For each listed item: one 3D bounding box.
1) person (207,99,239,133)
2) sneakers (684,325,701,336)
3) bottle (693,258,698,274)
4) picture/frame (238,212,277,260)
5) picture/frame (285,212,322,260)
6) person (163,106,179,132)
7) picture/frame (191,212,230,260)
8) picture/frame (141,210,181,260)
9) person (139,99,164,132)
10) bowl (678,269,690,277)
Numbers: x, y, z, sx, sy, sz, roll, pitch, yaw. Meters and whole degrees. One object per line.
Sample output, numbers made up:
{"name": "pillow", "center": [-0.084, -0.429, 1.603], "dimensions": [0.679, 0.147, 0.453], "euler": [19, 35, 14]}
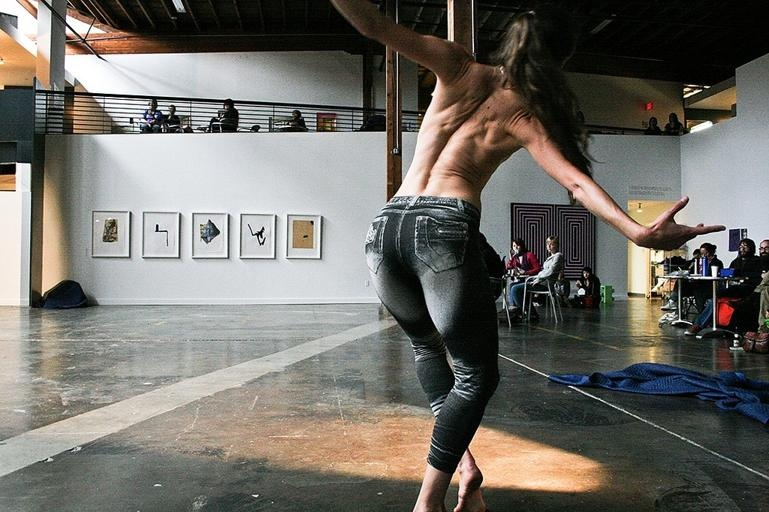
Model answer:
{"name": "person", "center": [-3.668, -3.194, 13.804], "dimensions": [0.852, 0.497, 1.107], "euler": [-2, 27, 7]}
{"name": "sneakers", "center": [4.268, 1.042, 8.412], "dimensions": [0.276, 0.100, 0.089], "euler": [0, -4, -20]}
{"name": "bottle", "center": [5.426, 0.192, 10.618], "dimensions": [0.064, 0.235, 0.247], "euler": [1, -6, 20]}
{"name": "picture/frame", "center": [-2.790, -0.402, 13.186], "dimensions": [1.126, 1.294, 0.088], "euler": [0, -4, -10]}
{"name": "picture/frame", "center": [-1.753, -0.442, 13.243], "dimensions": [0.783, 0.887, 0.094], "euler": [0, 3, -34]}
{"name": "person", "center": [-4.754, -3.105, 13.609], "dimensions": [0.350, 0.772, 0.738], "euler": [1, -1, -20]}
{"name": "picture/frame", "center": [-3.790, -0.412, 13.091], "dimensions": [1.099, 1.292, 0.097], "euler": [-1, 2, -2]}
{"name": "picture/frame", "center": [-4.824, -0.419, 13.011], "dimensions": [1.144, 1.364, 0.073], "euler": [0, -4, -10]}
{"name": "person", "center": [-5.253, -2.969, 13.689], "dimensions": [0.503, 1.075, 0.311], "euler": [1, -15, -13]}
{"name": "bowl", "center": [4.499, 0.265, 9.149], "dimensions": [0.197, 0.087, 0.240], "euler": [-2, -6, 0]}
